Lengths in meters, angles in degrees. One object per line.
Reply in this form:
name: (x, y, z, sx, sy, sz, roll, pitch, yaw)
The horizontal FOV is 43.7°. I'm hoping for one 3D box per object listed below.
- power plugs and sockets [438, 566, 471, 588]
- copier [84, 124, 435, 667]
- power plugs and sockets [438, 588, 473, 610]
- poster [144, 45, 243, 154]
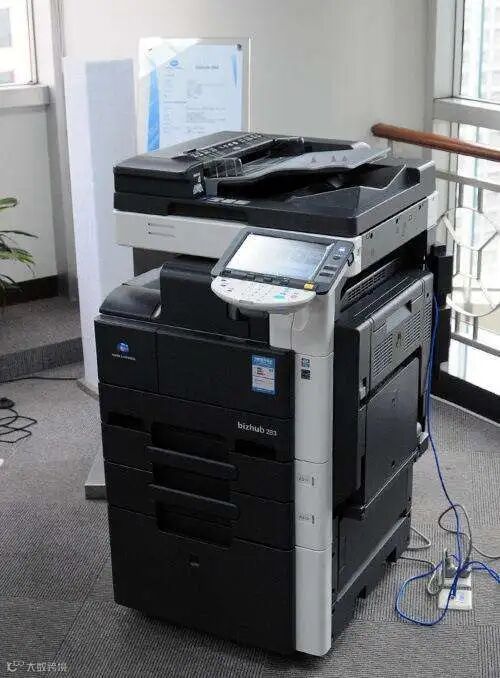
power plugs and sockets: (0.578, 0.673, 1.740, 0.090, 0.028, 0.044, -2, 23, 2)
copier: (0.072, 0.120, 1.542, 0.777, 1.032, 0.910, 0, 17, 11)
power plugs and sockets: (0.558, 0.701, 1.680, 0.050, 0.012, 0.052, 1, 22, 11)
poster: (-0.264, -1.053, 2.708, 0.465, 0.522, 0.043, -4, 56, -9)
